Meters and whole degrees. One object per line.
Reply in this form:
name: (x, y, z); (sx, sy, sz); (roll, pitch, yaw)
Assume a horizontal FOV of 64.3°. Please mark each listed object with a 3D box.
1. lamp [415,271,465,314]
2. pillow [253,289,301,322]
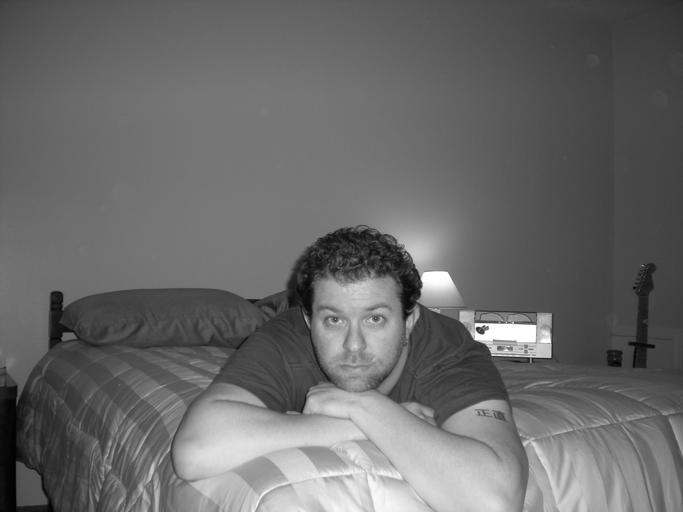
lamp: (0.610, 0.221, 3.347); (0.282, 0.308, 0.319); (-1, -1, 4)
pillow: (-0.345, 0.230, 2.874); (0.193, 0.060, 0.180); (-23, 33, -17)
